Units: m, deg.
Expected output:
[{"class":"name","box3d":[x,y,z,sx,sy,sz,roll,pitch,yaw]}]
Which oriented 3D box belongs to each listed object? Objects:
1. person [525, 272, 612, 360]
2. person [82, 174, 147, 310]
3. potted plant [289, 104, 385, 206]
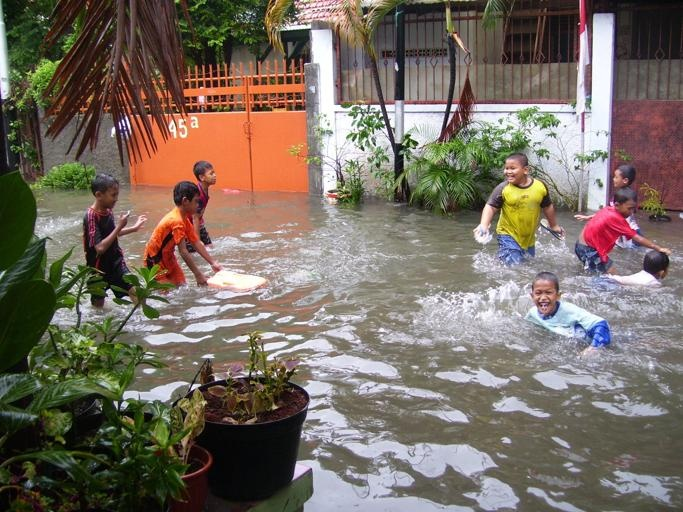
[{"class":"person","box3d":[2.063,0.504,5.141,0.822,0.583,0.399,12,20,40]},{"class":"person","box3d":[-2.650,-0.003,6.473,0.701,1.878,0.616,-6,21,-28]},{"class":"potted plant","box3d":[0.071,-2.468,13.783,2.466,2.739,2.135,-3,20,13]}]
